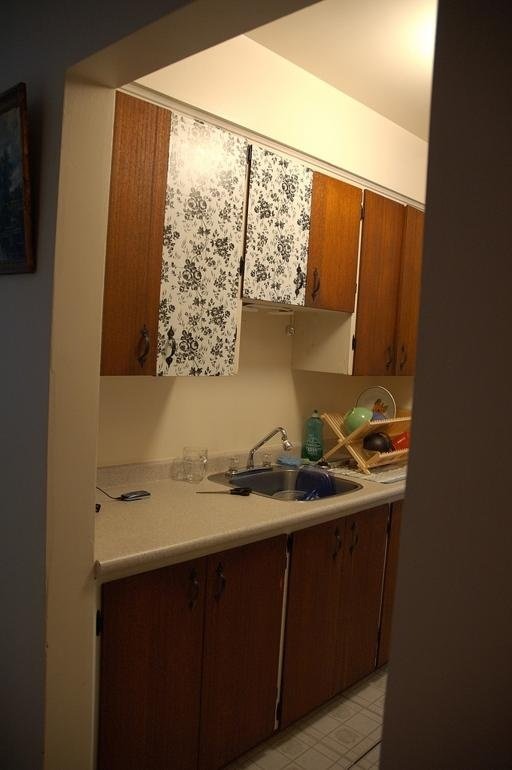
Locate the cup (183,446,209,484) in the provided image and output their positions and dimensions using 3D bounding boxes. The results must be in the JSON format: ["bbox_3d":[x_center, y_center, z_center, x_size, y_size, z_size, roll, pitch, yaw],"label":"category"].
[{"bbox_3d":[-0.230,0.300,2.153,0.067,0.134,0.121,1,1,3],"label":"cup"}]

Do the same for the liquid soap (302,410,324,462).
[{"bbox_3d":[0.276,0.241,2.679,0.091,0.247,0.200,4,6,1],"label":"liquid soap"}]

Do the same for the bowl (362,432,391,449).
[{"bbox_3d":[0.551,0.235,2.513,0.073,0.059,0.081,-1,6,-12],"label":"bowl"}]
